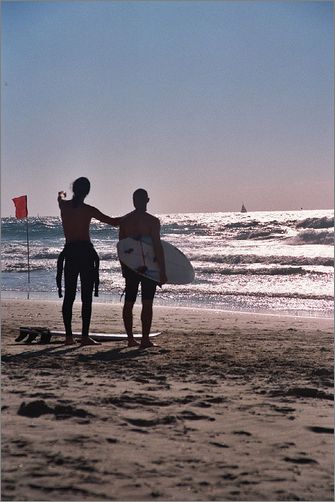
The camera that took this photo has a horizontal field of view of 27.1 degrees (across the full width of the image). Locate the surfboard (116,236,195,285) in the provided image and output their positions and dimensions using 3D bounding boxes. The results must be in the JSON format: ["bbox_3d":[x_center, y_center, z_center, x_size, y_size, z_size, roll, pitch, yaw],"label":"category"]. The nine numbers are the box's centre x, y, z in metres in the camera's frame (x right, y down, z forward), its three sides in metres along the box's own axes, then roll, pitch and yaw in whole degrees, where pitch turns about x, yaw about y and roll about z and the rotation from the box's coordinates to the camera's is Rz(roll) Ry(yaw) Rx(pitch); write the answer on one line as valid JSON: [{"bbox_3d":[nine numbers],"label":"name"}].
[{"bbox_3d":[-0.022,0.094,5.884,0.097,0.447,0.952,-25,-32,39],"label":"surfboard"}]

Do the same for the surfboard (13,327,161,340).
[{"bbox_3d":[-0.734,0.731,6.141,0.888,0.094,0.172,2,-3,-4],"label":"surfboard"}]

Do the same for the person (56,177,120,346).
[{"bbox_3d":[-0.665,0.094,5.649,0.489,1.369,0.256,2,5,0],"label":"person"}]
